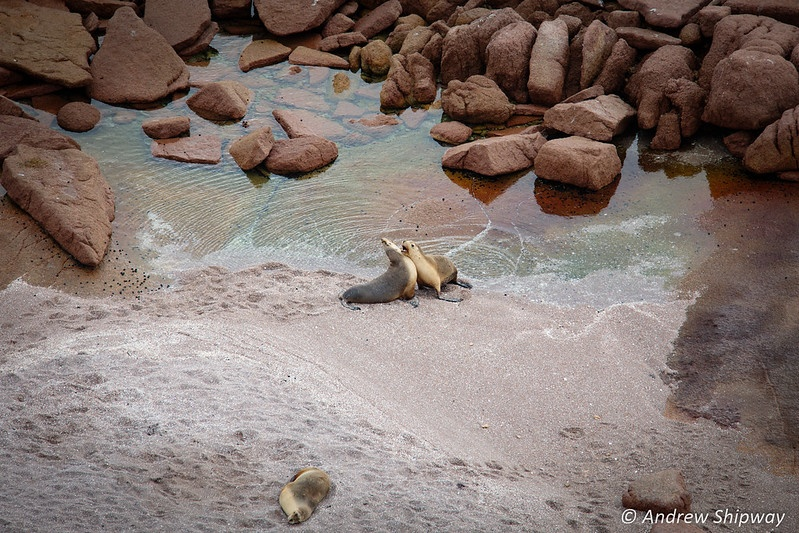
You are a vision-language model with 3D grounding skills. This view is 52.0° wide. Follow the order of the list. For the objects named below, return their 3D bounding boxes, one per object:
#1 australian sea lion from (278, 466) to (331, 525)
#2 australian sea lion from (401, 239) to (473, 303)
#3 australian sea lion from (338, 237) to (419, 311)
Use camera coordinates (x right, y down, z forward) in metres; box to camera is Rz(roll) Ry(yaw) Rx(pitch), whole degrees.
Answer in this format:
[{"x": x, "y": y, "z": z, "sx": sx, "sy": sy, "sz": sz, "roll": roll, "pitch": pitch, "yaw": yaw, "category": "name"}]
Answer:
[{"x": -1.432, "y": 3.379, "z": 12.051, "sx": 0.559, "sy": 0.284, "sz": 0.866, "roll": 33, "pitch": 64, "yaw": 19, "category": "australian sea lion"}, {"x": 0.597, "y": 0.009, "z": 15.895, "sx": 1.296, "sy": 0.804, "sz": 1.103, "roll": -6, "pitch": 18, "yaw": -35, "category": "australian sea lion"}, {"x": -0.356, "y": 0.144, "z": 15.629, "sx": 1.685, "sy": 1.203, "sz": 0.772, "roll": -6, "pitch": 22, "yaw": 3, "category": "australian sea lion"}]
